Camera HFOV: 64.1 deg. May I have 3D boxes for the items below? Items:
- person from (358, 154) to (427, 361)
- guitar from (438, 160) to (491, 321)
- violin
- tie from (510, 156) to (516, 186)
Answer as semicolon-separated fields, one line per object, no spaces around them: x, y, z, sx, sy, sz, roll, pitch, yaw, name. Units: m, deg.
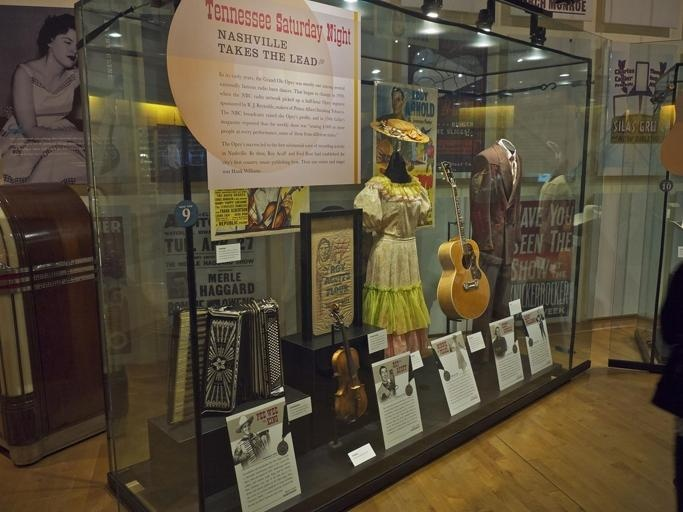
0.306;0.000;3.052;0.519;1.137;0.134;-7;11;-26;person
0.700;-0.076;3.256;0.352;0.969;0.076;-9;12;-35;guitar
0.031;0.571;2.883;0.186;0.616;0.135;-4;10;-11;violin
1.082;-0.555;3.446;0.028;0.140;0.090;5;7;15;tie
